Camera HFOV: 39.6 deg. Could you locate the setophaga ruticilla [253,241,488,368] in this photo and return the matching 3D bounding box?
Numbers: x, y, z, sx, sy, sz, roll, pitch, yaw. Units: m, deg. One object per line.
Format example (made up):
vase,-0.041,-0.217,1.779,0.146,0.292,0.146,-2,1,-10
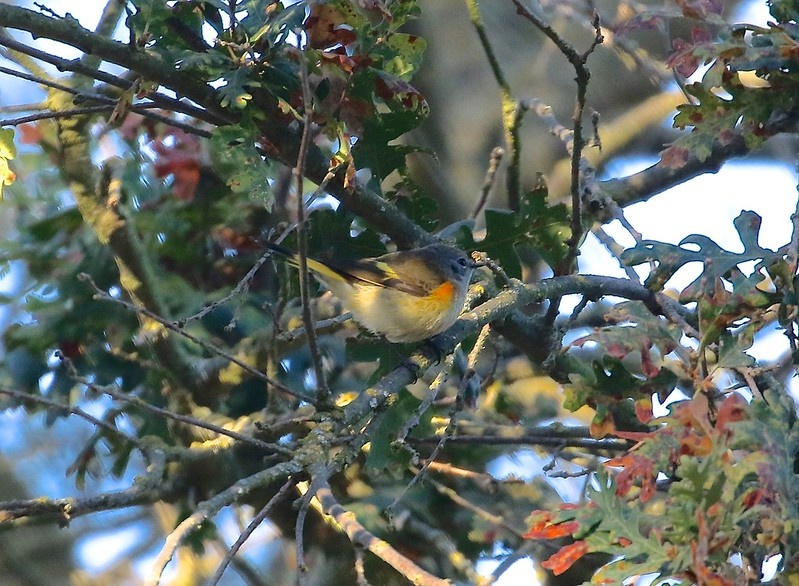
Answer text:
setophaga ruticilla,-0.011,0.000,6.640,0.957,0.500,0.636,-3,-63,-2
